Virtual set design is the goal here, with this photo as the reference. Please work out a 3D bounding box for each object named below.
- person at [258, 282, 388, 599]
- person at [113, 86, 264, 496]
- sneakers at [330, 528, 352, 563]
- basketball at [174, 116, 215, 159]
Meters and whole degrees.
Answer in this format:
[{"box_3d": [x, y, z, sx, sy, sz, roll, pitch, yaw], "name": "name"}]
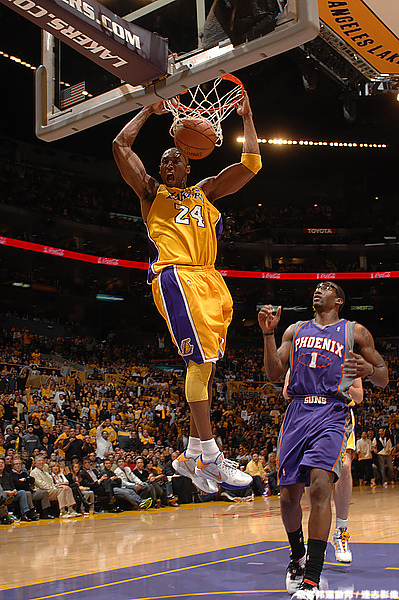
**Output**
[{"box_3d": [0.639, 0.692, 2.665, 0.655, 1.397, 1.060, -4, -2, 22], "name": "person"}, {"box_3d": [-0.017, -0.031, 2.539, 0.744, 1.462, 0.478, -2, -2, -26], "name": "person"}, {"box_3d": [1.009, 1.767, 3.697, 0.120, 0.201, 0.328, 0, -3, 3], "name": "sneakers"}, {"box_3d": [-0.032, -0.786, 2.436, 0.173, 0.195, 0.171, -29, 41, -29], "name": "basketball"}]
